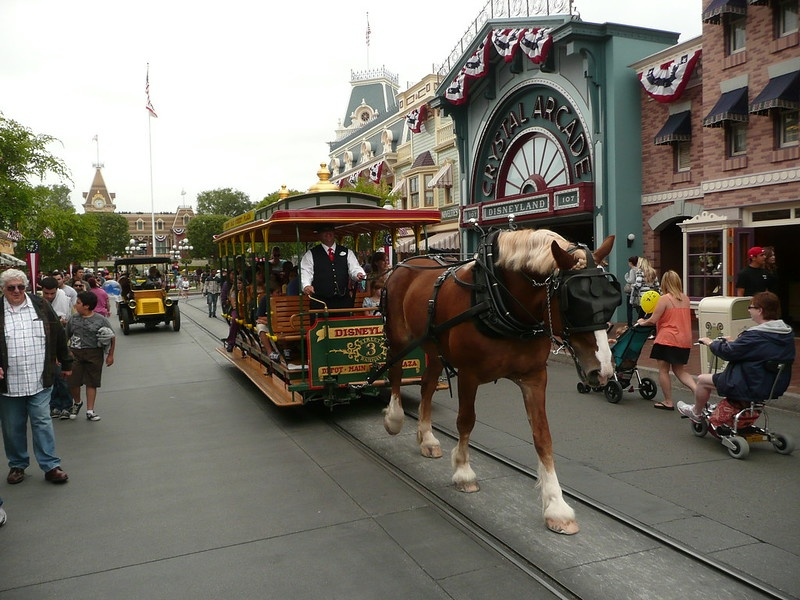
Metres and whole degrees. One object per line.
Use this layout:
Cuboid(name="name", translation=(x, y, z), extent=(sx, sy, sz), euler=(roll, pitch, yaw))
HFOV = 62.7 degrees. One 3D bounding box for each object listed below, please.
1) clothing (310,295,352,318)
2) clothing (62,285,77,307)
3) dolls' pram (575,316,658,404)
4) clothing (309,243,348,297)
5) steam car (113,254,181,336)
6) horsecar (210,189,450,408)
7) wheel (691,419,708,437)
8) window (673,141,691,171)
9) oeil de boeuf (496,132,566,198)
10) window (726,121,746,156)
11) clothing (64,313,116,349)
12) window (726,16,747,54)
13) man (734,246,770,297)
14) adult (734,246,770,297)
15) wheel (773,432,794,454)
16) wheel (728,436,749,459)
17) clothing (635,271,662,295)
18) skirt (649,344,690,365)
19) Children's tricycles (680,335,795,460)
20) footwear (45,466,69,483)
Cuboid(name="clothing", translation=(-1.008, 0.092, 9.565), extent=(0.324, 0.425, 0.553), euler=(0, -3, -44))
Cuboid(name="clothing", translation=(-6.628, -0.074, 13.061), extent=(0.136, 0.358, 0.404), euler=(14, 7, 40))
Cuboid(name="dolls' pram", translation=(3.378, 0.967, 10.534), extent=(0.661, 1.216, 1.651), euler=(4, -1, -19))
Cuboid(name="clothing", translation=(-1.032, -0.412, 9.622), extent=(0.577, 0.781, 0.281), euler=(-4, 10, -14))
Cuboid(name="steam car", translation=(-8.680, -0.219, 22.414), extent=(1.953, 2.542, 4.271), euler=(-1, 1, -22))
Cuboid(name="horsecar", translation=(-1.488, -0.100, 11.685), extent=(2.298, 2.932, 5.279), euler=(-1, 1, -25))
Cuboid(name="wheel", translation=(3.722, 1.582, 8.135), extent=(0.062, 0.195, 0.179), euler=(-6, 23, -34))
Cuboid(name="window", translation=(7.793, -3.959, 18.126), extent=(0.179, 0.782, 0.468), euler=(-6, 10, -23))
Cuboid(name="oeil de boeuf", translation=(4.539, -4.645, 22.334), extent=(0.280, 2.015, 2.573), euler=(-2, 8, -25))
Cuboid(name="window", translation=(8.287, -3.955, 16.156), extent=(0.448, 0.810, 0.272), euler=(6, 12, 39))
Cuboid(name="clothing", translation=(-4.679, 0.481, 9.931), extent=(0.824, 0.801, 0.447), euler=(1, -4, -20))
Cuboid(name="window", translation=(8.221, -6.424, 15.995), extent=(0.224, 0.796, 0.474), euler=(-8, 11, -35))
Cuboid(name="man", translation=(6.224, -0.463, 11.527), extent=(0.516, 0.889, 0.672), euler=(4, 11, 29))
Cuboid(name="adult", translation=(6.219, -0.462, 11.521), extent=(0.518, 0.889, 0.651), euler=(4, 11, 30))
Cuboid(name="wheel", translation=(4.440, 1.661, 7.588), extent=(0.081, 0.184, 0.170), euler=(-2, 18, -22))
Cuboid(name="wheel", translation=(3.863, 1.684, 7.487), extent=(0.092, 0.185, 0.174), euler=(-3, 25, -15))
Cuboid(name="clothing", translation=(5.014, -0.346, 13.331), extent=(0.464, 0.523, 0.353), euler=(-4, 12, -14))
Cuboid(name="skirt", translation=(3.866, 0.756, 9.432), extent=(0.473, 0.305, 0.361), euler=(9, -3, -5))
Cuboid(name="Children's tricycles", translation=(4.343, 1.067, 8.012), extent=(0.887, 1.597, 1.520), euler=(0, 1, -15))
Cuboid(name="footwear", translation=(-3.928, 1.982, 7.458), extent=(0.316, 0.142, 0.119), euler=(-3, -4, 40))
